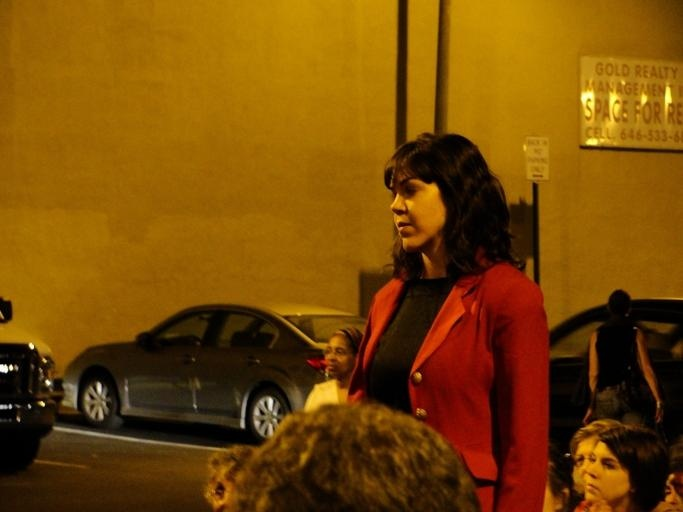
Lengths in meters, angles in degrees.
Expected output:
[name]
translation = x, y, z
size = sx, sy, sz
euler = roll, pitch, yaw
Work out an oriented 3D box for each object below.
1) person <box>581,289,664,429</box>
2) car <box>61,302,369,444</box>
[person]
translation = 2.182, 1.065, 5.967
size = 0.626, 1.702, 0.461
euler = -1, 9, 27
[car]
translation = -1.074, 0.847, 5.930
size = 1.980, 0.886, 1.046
euler = 3, -3, 17
